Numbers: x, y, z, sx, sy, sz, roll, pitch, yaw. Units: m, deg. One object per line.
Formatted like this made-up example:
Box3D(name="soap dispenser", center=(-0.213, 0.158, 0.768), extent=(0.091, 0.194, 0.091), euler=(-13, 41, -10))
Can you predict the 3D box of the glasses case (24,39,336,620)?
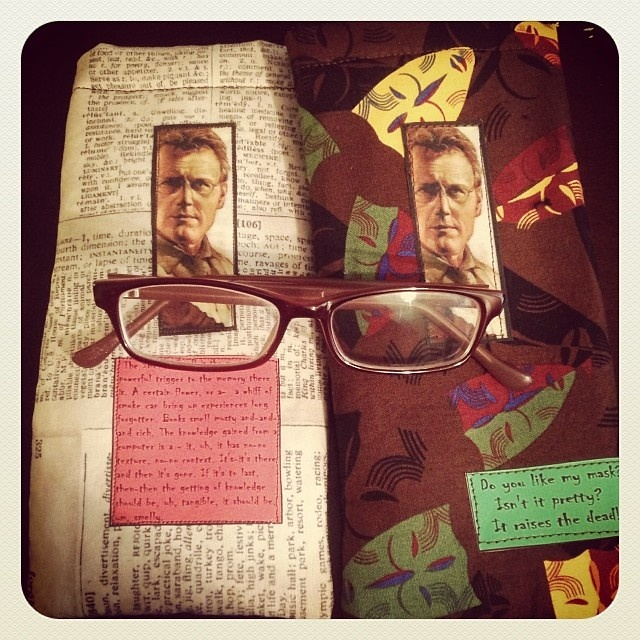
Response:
Box3D(name="glasses case", center=(-0.135, -0.002, 0.795), extent=(0.402, 0.707, 0.113), euler=(-1, -8, 16))
